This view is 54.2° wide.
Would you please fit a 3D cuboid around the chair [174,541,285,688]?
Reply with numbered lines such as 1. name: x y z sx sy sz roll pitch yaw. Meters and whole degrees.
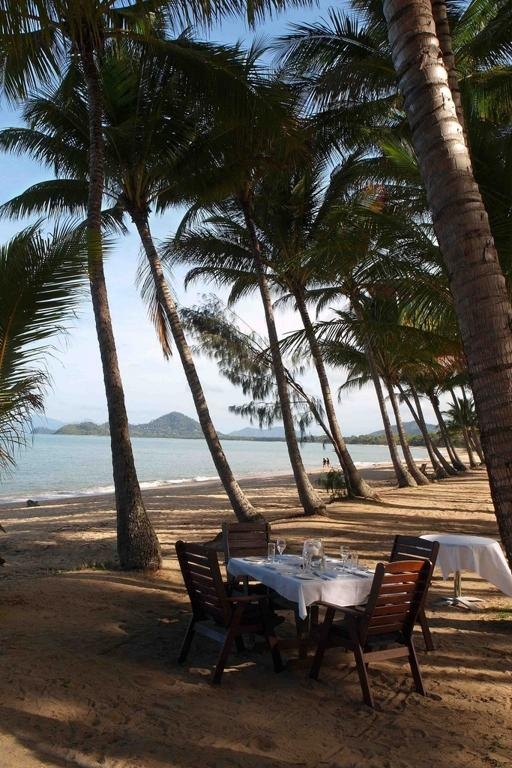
1. chair: -0.187 1.557 3.490 0.695 0.813 0.714 0 -10 -5

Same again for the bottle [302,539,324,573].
1. bottle: 0.375 1.293 3.760 0.179 0.260 0.194 0 -16 0

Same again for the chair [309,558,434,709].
1. chair: 0.720 1.529 3.214 0.580 0.820 0.622 11 -11 -44
